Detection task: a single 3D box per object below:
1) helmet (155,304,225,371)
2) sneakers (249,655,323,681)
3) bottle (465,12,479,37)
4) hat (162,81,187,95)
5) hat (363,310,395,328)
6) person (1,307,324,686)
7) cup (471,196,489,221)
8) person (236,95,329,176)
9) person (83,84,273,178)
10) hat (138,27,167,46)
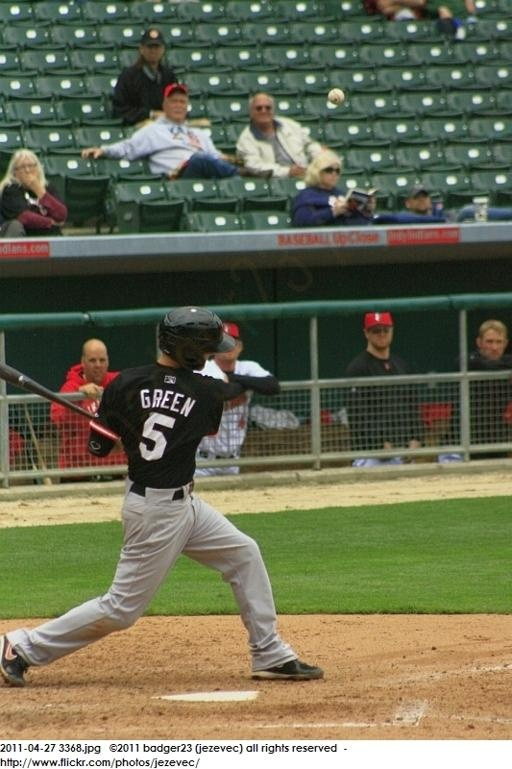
[{"bbox_3d":[-0.244,-0.196,5.026,0.302,0.204,0.201,7,16,-6],"label":"helmet"},{"bbox_3d":[0.124,1.136,5.080,0.290,0.097,0.098,-2,-5,2],"label":"sneakers"},{"bbox_3d":[2.471,-4.152,14.541,0.126,0.295,0.131,-1,25,1],"label":"bottle"},{"bbox_3d":[-0.646,-2.398,10.269,0.158,0.113,0.184,-2,9,-11],"label":"hat"},{"bbox_3d":[0.862,-0.460,8.790,0.120,0.148,0.152,-6,34,-8],"label":"hat"},{"bbox_3d":[-0.364,0.447,5.014,1.220,1.498,0.359,-2,10,-5],"label":"person"},{"bbox_3d":[1.726,-1.349,9.754,0.105,0.162,0.198,1,9,8],"label":"cup"},{"bbox_3d":[0.159,-2.103,10.549,0.725,0.568,0.939,-17,12,-29],"label":"person"},{"bbox_3d":[-0.607,-2.068,10.514,1.576,0.706,0.606,1,37,-24],"label":"person"},{"bbox_3d":[-0.878,-3.011,10.947,0.217,0.134,0.279,9,11,-18],"label":"hat"}]
